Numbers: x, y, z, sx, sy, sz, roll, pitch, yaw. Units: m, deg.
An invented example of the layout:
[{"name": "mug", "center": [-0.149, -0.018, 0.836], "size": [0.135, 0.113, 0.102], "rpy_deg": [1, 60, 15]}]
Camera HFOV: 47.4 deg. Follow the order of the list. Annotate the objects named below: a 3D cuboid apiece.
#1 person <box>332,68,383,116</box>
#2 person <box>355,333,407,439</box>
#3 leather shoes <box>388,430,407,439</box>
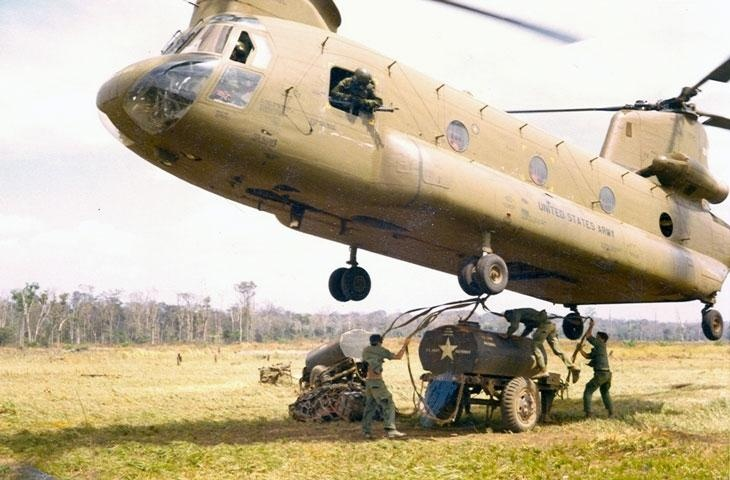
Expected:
[{"name": "person", "center": [-0.209, -3.833, 22.215], "size": [1.230, 1.223, 0.549], "rpy_deg": [9, -18, -2]}, {"name": "person", "center": [0.463, 4.024, 22.794], "size": [1.076, 2.837, 0.666], "rpy_deg": [2, -12, 3]}, {"name": "leather shoes", "center": [0.840, 5.303, 22.498], "size": [0.431, 0.184, 0.225], "rpy_deg": [0, -2, 8]}]
